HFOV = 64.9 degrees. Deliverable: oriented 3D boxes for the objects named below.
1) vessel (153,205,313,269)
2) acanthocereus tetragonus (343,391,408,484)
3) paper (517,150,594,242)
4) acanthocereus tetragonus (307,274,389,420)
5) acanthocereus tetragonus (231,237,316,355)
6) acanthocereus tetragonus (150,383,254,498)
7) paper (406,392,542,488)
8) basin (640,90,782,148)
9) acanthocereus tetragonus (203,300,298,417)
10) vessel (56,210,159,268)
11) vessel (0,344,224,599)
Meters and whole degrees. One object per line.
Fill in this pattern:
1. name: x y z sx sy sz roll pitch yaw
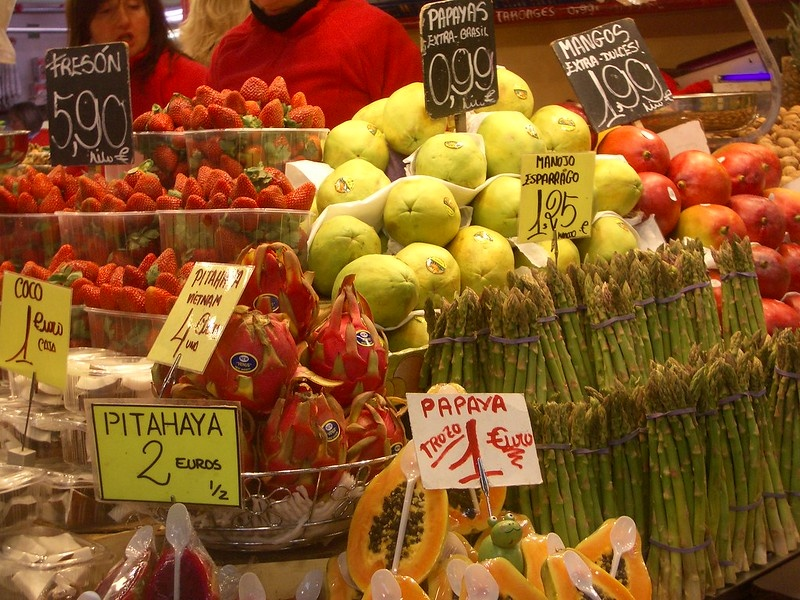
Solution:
1. vessel: -0.506 -0.199 1.867 0.295 0.123 0.211 -1 -2 -2
2. acanthocereus tetragonus: -0.032 0.353 1.548 0.167 0.226 0.166 11 -28 5
3. paper: 0.514 -0.331 2.071 0.010 0.295 0.314 -1 3 -37
4. acanthocereus tetragonus: -0.130 0.105 1.516 0.234 0.376 0.245 2 -11 -18
5. acanthocereus tetragonus: -0.325 0.013 1.643 0.206 0.280 0.227 -20 -3 -18
6. acanthocereus tetragonus: -0.411 0.275 1.362 0.171 0.228 0.125 -1 -34 -13
7. paper: 0.158 0.315 1.401 0.216 0.165 0.011 -4 -24 -21
8. basin: 1.921 -1.070 3.779 0.806 0.295 0.809 -4 16 1
9. acanthocereus tetragonus: -0.329 0.128 1.439 0.203 0.228 0.201 6 -2 -15
10. vessel: -0.936 -0.186 1.989 0.232 0.118 0.178 -2 0 12
11. vessel: -0.835 0.392 1.698 0.444 0.651 0.218 -3 -12 -8
